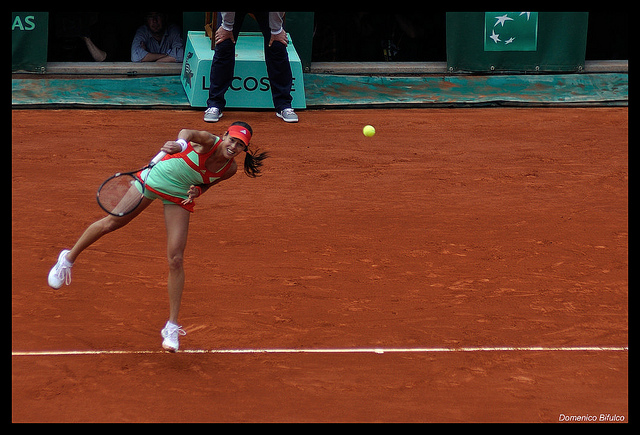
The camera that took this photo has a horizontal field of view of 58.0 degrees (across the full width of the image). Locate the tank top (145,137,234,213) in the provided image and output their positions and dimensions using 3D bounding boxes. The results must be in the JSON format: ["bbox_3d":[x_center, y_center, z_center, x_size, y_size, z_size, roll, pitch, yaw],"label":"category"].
[{"bbox_3d":[-1.133,-0.381,4.982,0.733,0.620,0.238,-2,13,-13],"label":"tank top"}]

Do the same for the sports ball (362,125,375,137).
[{"bbox_3d":[0.770,-1.394,9.198,0.212,0.168,0.187,7,11,0],"label":"sports ball"}]

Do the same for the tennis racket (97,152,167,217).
[{"bbox_3d":[-1.661,-0.286,4.975,0.882,0.329,0.046,-37,1,36],"label":"tennis racket"}]

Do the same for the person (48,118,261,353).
[{"bbox_3d":[-1.300,0.096,5.328,1.418,1.964,1.271,10,16,36],"label":"person"}]

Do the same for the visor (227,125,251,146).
[{"bbox_3d":[-0.678,-0.699,4.938,0.153,0.176,0.191,23,-24,-16],"label":"visor"}]
